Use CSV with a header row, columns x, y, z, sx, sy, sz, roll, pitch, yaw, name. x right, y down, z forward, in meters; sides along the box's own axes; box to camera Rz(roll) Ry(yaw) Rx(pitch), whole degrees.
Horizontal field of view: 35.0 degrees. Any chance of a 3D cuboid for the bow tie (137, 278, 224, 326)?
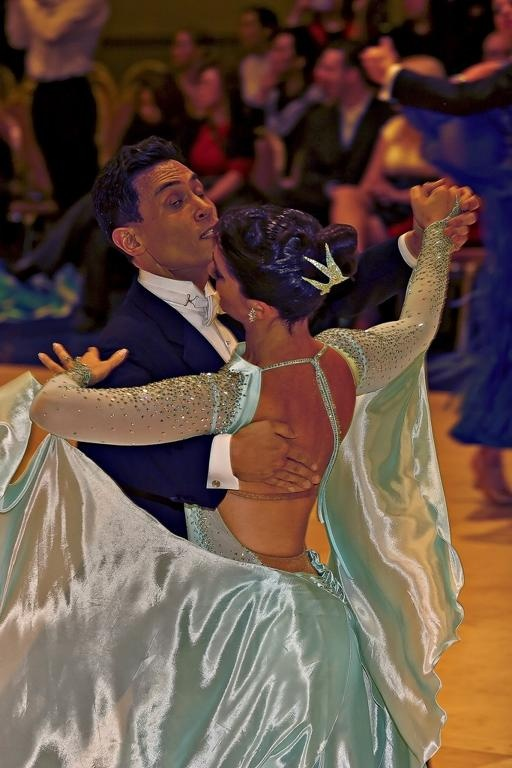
x,y,z,sx,sy,sz,roll,pitch,yaw,name
-0.171,-0.199,1.833,0.149,0.061,0.113,23,16,2,bow tie
